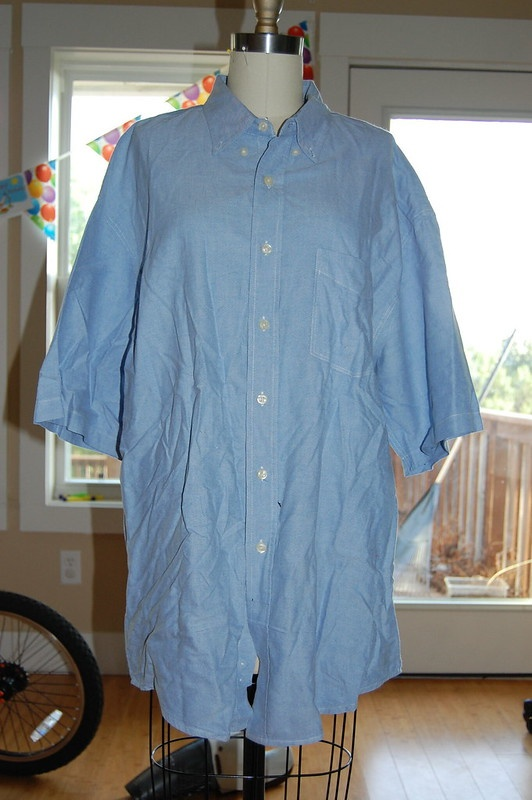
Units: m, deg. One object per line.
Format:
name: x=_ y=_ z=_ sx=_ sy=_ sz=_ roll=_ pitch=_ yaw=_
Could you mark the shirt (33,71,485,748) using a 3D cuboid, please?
shirt: x=0.001 y=0.002 z=1.242 sx=0.670 sy=0.970 sz=0.301 roll=0 pitch=8 yaw=-13
